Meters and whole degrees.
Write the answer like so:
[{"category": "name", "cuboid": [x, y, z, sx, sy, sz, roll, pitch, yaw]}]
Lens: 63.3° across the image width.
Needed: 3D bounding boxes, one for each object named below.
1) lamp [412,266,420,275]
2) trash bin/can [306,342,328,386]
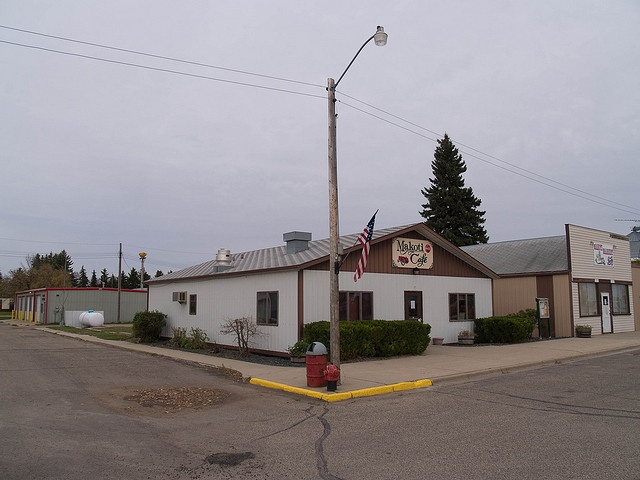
[{"category": "lamp", "cuboid": [4.309, 1.398, 23.225, 0.139, 0.329, 0.498, -6, -12, 38]}, {"category": "trash bin/can", "cuboid": [-0.115, 3.391, 14.120, 0.609, 1.154, 0.660, -2, -7, -1]}]
